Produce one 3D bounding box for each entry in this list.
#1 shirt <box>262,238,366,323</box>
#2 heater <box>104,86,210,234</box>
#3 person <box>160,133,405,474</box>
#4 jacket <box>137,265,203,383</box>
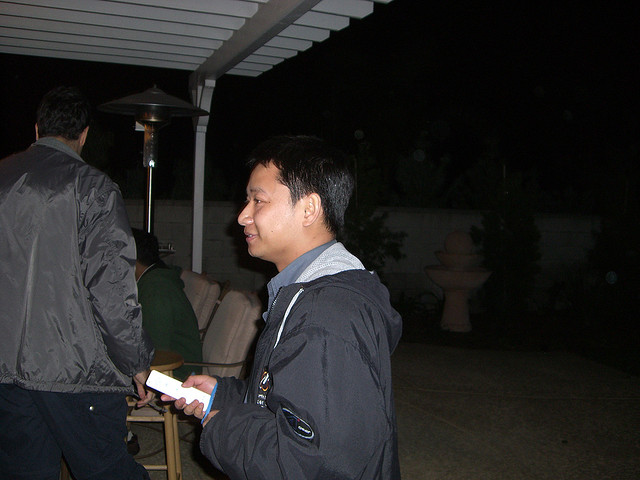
[{"bbox_3d":[0.154,0.150,1.930,0.384,0.259,0.434,-15,-1,-10],"label":"shirt"},{"bbox_3d":[-1.569,-0.509,4.880,0.842,1.645,0.893,5,7,14],"label":"heater"},{"bbox_3d":[-0.048,0.217,1.753,0.643,1.163,0.543,3,6,12],"label":"person"},{"bbox_3d":[-1.058,0.497,3.669,0.431,0.901,0.431,0,8,-26],"label":"jacket"}]
